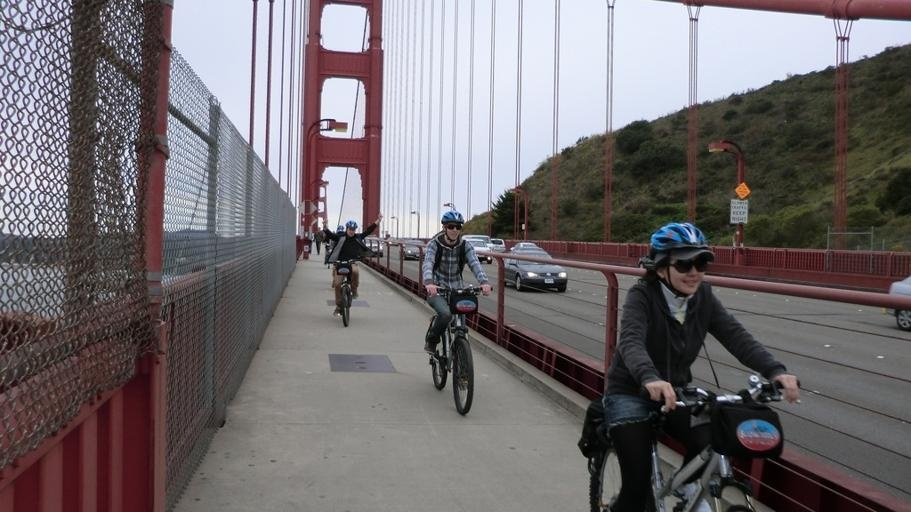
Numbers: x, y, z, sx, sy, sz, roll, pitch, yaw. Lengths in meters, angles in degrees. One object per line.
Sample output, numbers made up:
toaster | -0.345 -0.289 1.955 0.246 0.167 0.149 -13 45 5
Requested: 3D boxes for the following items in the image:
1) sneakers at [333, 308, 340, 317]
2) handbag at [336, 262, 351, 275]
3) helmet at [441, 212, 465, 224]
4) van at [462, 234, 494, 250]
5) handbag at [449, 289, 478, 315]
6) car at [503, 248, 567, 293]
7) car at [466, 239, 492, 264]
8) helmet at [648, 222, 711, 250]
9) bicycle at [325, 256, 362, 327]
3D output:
sneakers | -2.472 1.188 13.389 0.126 0.169 0.389 0 -7 -7
handbag | -2.273 0.271 12.976 0.235 0.168 0.244 -1 2 -1
helmet | -0.031 -0.436 7.590 0.221 0.122 0.321 1 -3 -6
van | 1.767 -0.916 44.682 1.082 0.887 2.085 -1 -4 -9
handbag | 0.099 0.531 7.435 0.336 0.320 0.258 0 -2 -14
car | 2.572 0.506 20.582 1.289 0.987 2.911 0 -2 -14
car | 1.430 -0.264 36.619 1.006 0.925 2.430 -1 -6 -2
helmet | 1.387 -0.118 3.942 0.190 0.104 0.261 5 7 41
bicycle | -2.233 0.722 13.055 0.470 1.241 1.643 0 3 -10
